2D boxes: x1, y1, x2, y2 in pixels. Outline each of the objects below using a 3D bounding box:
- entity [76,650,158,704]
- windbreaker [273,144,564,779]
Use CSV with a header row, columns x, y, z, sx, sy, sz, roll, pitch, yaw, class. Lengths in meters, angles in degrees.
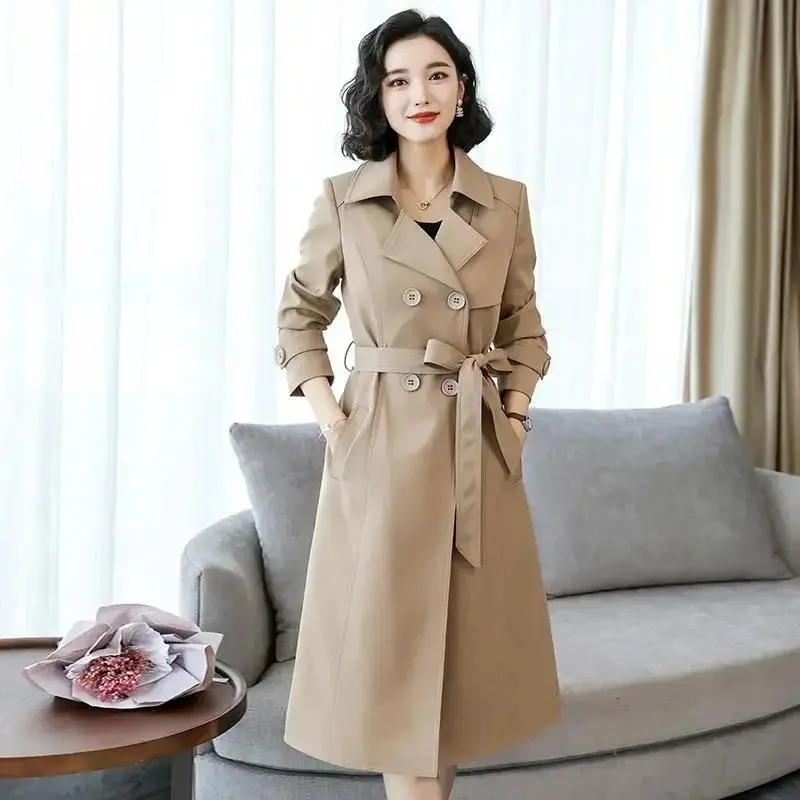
x,y,z,sx,sy,sz,roll,pitch,yaw,class
-0.469,0.450,1.342,0.062,0.040,0.086,-23,-6,-20,entity
0.053,0.071,1.368,0.505,0.969,0.484,4,12,-14,windbreaker
